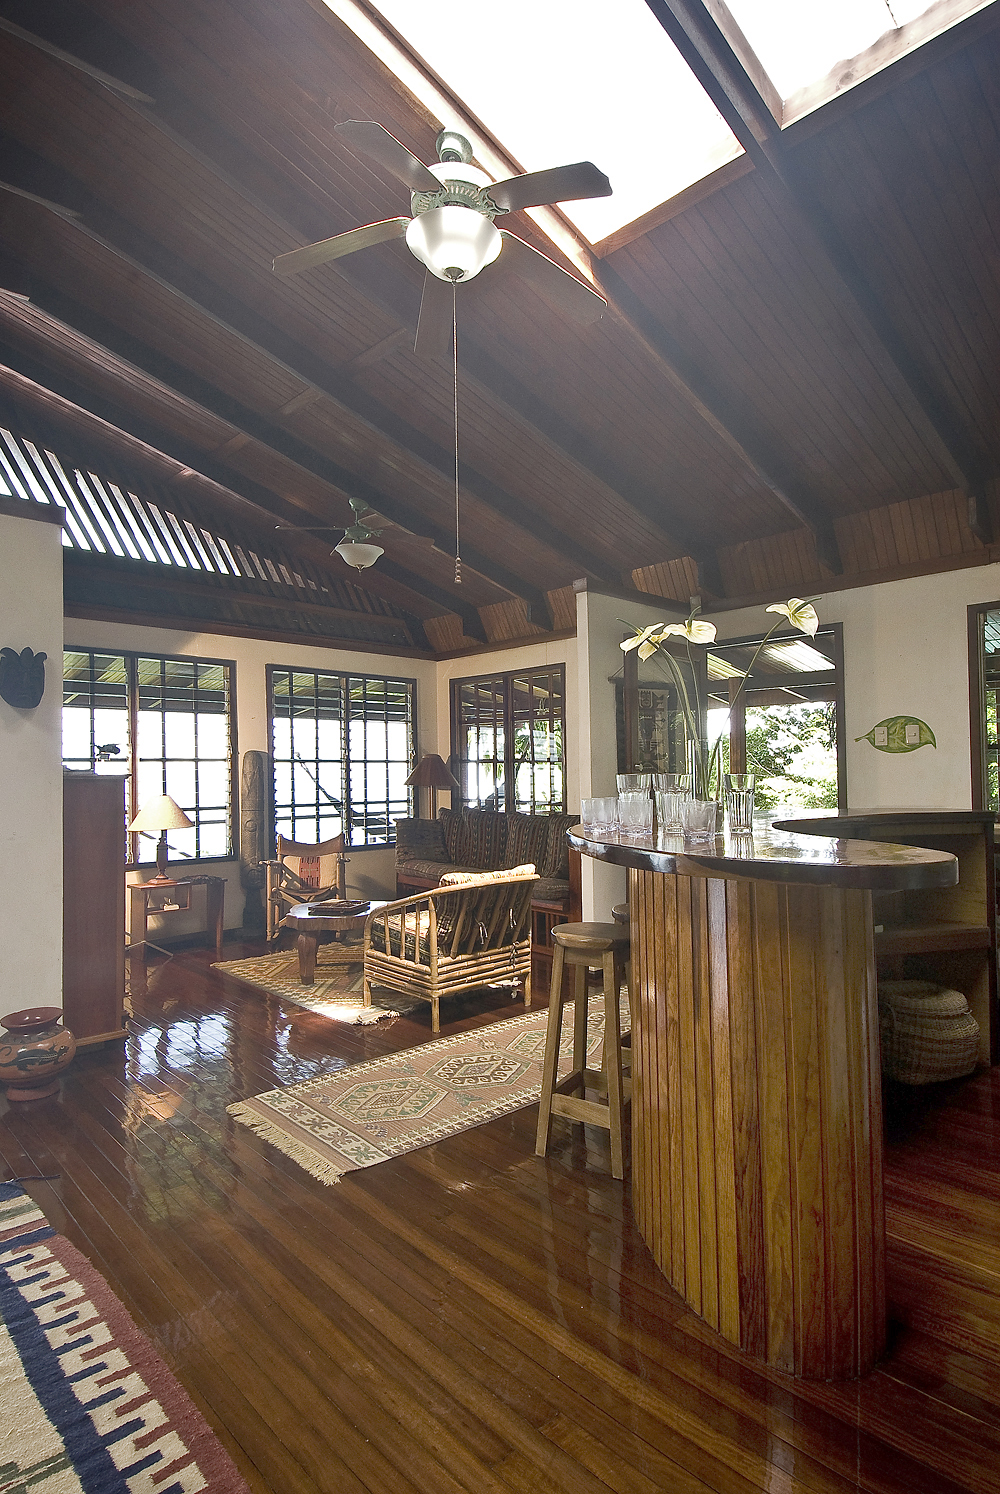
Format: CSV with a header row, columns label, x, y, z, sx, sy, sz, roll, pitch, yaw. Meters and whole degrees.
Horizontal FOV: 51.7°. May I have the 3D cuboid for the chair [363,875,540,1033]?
label,x,y,z,sx,sy,sz,roll,pitch,yaw
chair,-0.212,1.036,5.476,0.826,0.806,0.761,4,-8,-29

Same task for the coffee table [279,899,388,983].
label,x,y,z,sx,sy,sz,roll,pitch,yaw
coffee table,-1.020,1.080,6.231,0.625,0.447,0.705,1,-3,-14

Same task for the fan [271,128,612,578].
label,x,y,z,sx,sy,sz,roll,pitch,yaw
fan,-0.124,-1.382,3.658,1.091,1.461,1.225,-3,36,-7

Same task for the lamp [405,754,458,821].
label,x,y,z,sx,sy,sz,roll,pitch,yaw
lamp,-0.606,0.365,9.067,0.522,0.807,0.529,-1,-6,0

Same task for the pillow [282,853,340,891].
label,x,y,z,sx,sy,sz,roll,pitch,yaw
pillow,-1.421,0.925,7.687,0.311,0.420,0.295,2,-12,-16

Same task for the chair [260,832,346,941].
label,x,y,z,sx,sy,sz,roll,pitch,yaw
chair,-1.440,1.011,7.466,0.717,0.987,0.664,1,-9,-13
